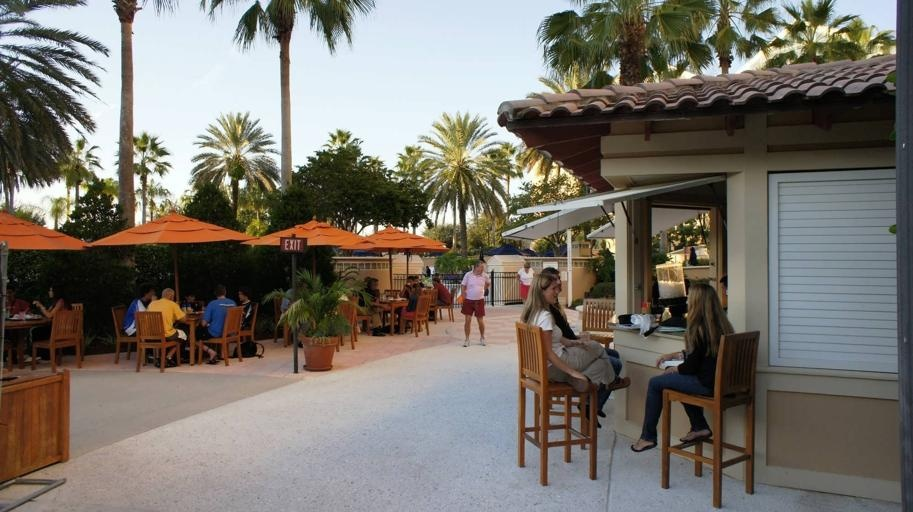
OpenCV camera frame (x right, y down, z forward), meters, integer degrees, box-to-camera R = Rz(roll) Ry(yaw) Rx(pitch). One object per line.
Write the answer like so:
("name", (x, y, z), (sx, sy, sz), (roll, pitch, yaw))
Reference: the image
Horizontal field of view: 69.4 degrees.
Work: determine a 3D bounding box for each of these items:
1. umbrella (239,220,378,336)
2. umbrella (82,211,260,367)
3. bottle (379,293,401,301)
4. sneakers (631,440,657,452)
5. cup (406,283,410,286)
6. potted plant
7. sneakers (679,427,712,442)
("umbrella", (-3.924, 0.653, 17.025), (3.521, 1.544, 3.178), (-1, 2, -4))
("umbrella", (-6.660, 0.804, 16.328), (3.699, 3.111, 3.679), (1, 2, -7))
("bottle", (-2.064, 1.260, 20.459), (0.383, 0.222, 0.373), (2, 0, 0))
("sneakers", (2.703, 2.802, 9.595), (0.361, 0.113, 0.196), (-4, 6, 24))
("cup", (-1.483, 0.849, 19.754), (0.073, 0.076, 0.075), (1, -3, 0))
("potted plant", (-3.034, 1.393, 14.758), (2.387, 2.217, 2.289), (1, -7, -5))
("sneakers", (3.351, 2.576, 9.409), (0.504, 0.204, 0.168), (-5, -9, 12))
